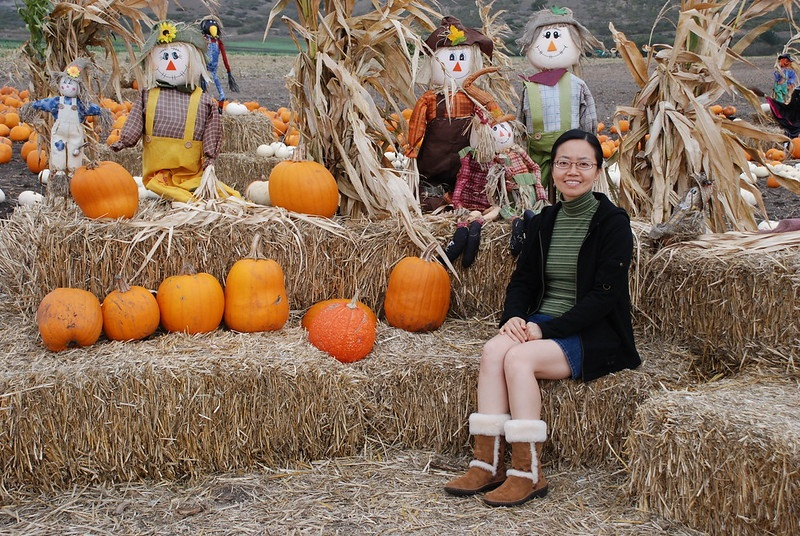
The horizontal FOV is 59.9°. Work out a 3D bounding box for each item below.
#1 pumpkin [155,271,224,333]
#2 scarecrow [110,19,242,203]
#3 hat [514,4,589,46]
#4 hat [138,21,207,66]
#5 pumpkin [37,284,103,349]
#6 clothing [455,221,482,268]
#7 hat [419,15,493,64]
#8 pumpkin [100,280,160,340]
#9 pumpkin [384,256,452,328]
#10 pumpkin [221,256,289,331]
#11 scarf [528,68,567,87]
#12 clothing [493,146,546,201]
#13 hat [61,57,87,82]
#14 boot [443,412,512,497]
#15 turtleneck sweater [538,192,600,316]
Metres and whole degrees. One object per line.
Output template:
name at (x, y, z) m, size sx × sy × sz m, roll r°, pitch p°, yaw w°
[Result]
pumpkin at (-1.271, 0.228, 4.300) m, size 0.446 × 0.354 × 0.412 m, roll -1°, pitch 5°, yaw -23°
scarecrow at (-1.588, -1.094, 4.854) m, size 0.625 × 1.222 × 0.493 m, roll 3°, pitch 13°, yaw 11°
hat at (1.095, -1.812, 5.110) m, size 0.426 × 0.172 × 0.319 m, roll -6°, pitch 4°, yaw -42°
hat at (-1.554, -1.574, 4.790) m, size 0.356 × 0.156 × 0.352 m, roll -17°, pitch 11°, yaw 16°
pumpkin at (-1.893, 0.291, 4.029) m, size 0.427 × 0.321 × 0.410 m, roll -4°, pitch -12°, yaw 12°
clothing at (0.457, -0.146, 4.535) m, size 0.114 × 0.285 × 0.133 m, roll 14°, pitch -7°, yaw 4°
hat at (0.423, -1.649, 5.012) m, size 0.408 × 0.207 × 0.340 m, roll 10°, pitch 17°, yaw 14°
pumpkin at (-1.542, 0.232, 4.125) m, size 0.375 × 0.406 × 0.340 m, roll -5°, pitch -2°, yaw -23°
pumpkin at (0.119, 0.175, 4.544) m, size 0.439 × 0.454 × 0.411 m, roll 12°, pitch 5°, yaw -17°
pumpkin at (-0.926, 0.196, 4.352) m, size 0.393 × 0.425 × 0.379 m, roll 1°, pitch 6°, yaw 11°
scarf at (1.095, -1.406, 5.124) m, size 0.207 × 0.050 × 0.191 m, roll 8°, pitch 42°, yaw 27°
clothing at (0.795, -0.637, 4.979) m, size 0.336 × 0.406 × 0.148 m, roll -18°, pitch -18°, yaw -32°
hat at (-2.201, -1.348, 4.708) m, size 0.112 × 0.060 × 0.202 m, roll 23°, pitch 29°, yaw -20°
boot at (0.397, 0.996, 3.734) m, size 0.461 × 0.399 × 0.253 m, roll 5°, pitch -8°, yaw -34°
turtleneck sweater at (0.937, -0.076, 3.910) m, size 0.171 × 0.621 × 0.369 m, roll 11°, pitch -2°, yaw -40°
